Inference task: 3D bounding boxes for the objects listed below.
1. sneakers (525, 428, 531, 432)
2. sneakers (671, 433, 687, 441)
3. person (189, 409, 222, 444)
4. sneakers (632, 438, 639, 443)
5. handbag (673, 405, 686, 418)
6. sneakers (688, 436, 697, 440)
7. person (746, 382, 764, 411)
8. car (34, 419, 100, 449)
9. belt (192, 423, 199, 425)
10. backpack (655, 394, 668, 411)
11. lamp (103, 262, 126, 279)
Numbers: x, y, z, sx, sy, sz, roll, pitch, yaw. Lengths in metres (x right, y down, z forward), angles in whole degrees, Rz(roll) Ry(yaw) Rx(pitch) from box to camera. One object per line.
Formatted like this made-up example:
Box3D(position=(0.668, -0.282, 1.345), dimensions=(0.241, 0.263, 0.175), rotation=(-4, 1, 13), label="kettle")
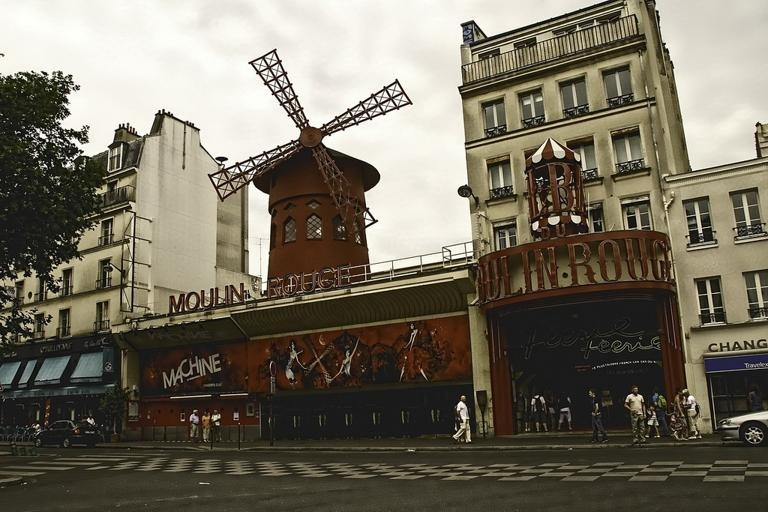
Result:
Box3D(position=(6.647, 7.997, 37.054), dimensions=(0.186, 0.120, 0.169), rotation=(2, -9, -17), label="sneakers")
Box3D(position=(11.367, 6.993, 31.201), dimensions=(0.701, 0.286, 0.223), rotation=(-11, -7, 27), label="sneakers")
Box3D(position=(-9.280, 8.966, 42.226), dimensions=(1.605, 1.922, 0.718), rotation=(0, -14, -1), label="person")
Box3D(position=(9.532, 6.942, 30.350), dimensions=(0.248, 0.240, 0.560), rotation=(-7, -19, 14), label="sneakers")
Box3D(position=(11.542, 5.995, 31.194), dimensions=(0.413, 0.421, 0.247), rotation=(1, -19, -9), label="handbag")
Box3D(position=(11.893, 6.974, 30.964), dimensions=(0.406, 0.166, 0.136), rotation=(-5, -8, -1), label="sneakers")
Box3D(position=(15.387, 5.816, 33.317), dimensions=(0.601, 1.152, 1.048), rotation=(-11, -21, 24), label="person")
Box3D(position=(-16.357, 9.227, 41.797), dimensions=(3.161, 1.029, 1.411), rotation=(-4, -13, 24), label="car")
Box3D(position=(-9.853, 8.790, 42.300), dimensions=(0.134, 0.070, 0.229), rotation=(-15, -23, 34), label="belt")
Box3D(position=(11.532, 6.046, 33.351), dimensions=(0.698, 0.725, 0.411), rotation=(17, -26, -42), label="backpack")
Box3D(position=(-15.287, 0.797, 46.070), dimensions=(0.829, 0.951, 1.614), rotation=(-2, -7, 37), label="lamp")
